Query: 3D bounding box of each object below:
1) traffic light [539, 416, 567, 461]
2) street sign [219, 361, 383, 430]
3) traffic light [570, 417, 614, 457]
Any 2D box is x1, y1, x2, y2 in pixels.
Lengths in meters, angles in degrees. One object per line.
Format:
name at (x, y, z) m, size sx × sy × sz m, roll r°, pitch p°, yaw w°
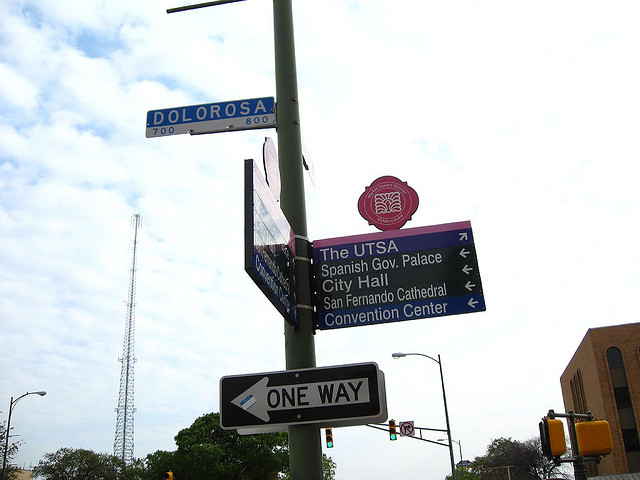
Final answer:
traffic light at (4.213, 3.545, 10.803) m, size 0.408 × 0.658 × 1.091 m, roll -9°, pitch -27°, yaw 17°
street sign at (-0.221, 1.856, 7.374) m, size 1.969 × 0.725 × 0.354 m, roll -4°, pitch 12°, yaw -4°
traffic light at (4.975, 3.628, 10.970) m, size 0.677 × 0.622 × 0.384 m, roll -1°, pitch -13°, yaw -10°
